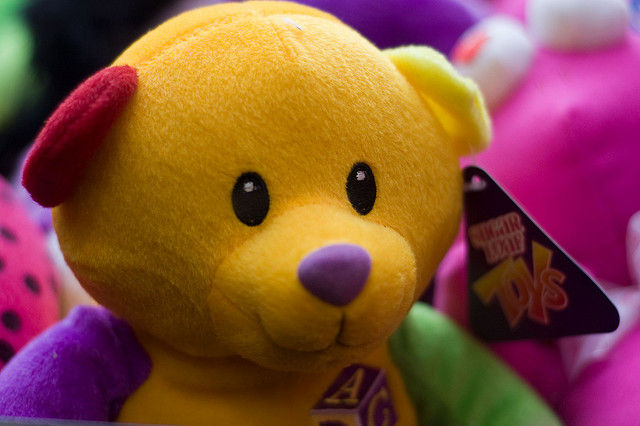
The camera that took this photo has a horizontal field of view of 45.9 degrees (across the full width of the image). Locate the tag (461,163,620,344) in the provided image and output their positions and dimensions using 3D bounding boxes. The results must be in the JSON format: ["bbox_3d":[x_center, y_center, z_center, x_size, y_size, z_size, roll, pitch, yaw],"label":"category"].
[{"bbox_3d":[0.209,0.034,0.855,0.016,0.219,0.214,-25,99,-38],"label":"tag"}]

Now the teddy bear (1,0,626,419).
[{"bbox_3d":[0.019,0.012,0.803,0.479,0.251,0.406,-3,92,-26],"label":"teddy bear"}]
